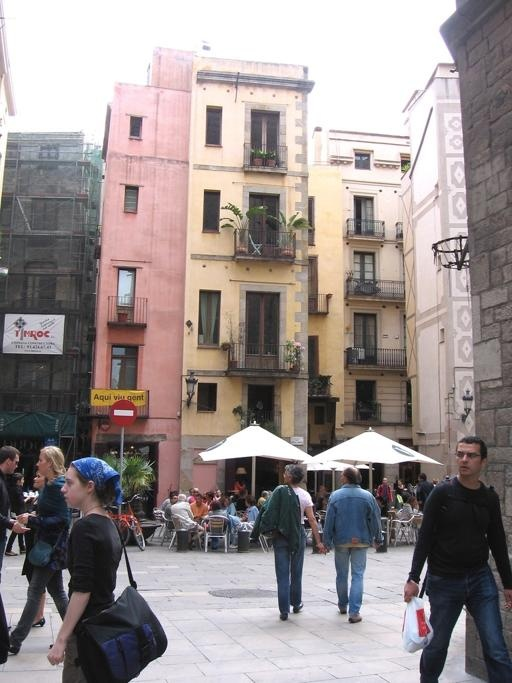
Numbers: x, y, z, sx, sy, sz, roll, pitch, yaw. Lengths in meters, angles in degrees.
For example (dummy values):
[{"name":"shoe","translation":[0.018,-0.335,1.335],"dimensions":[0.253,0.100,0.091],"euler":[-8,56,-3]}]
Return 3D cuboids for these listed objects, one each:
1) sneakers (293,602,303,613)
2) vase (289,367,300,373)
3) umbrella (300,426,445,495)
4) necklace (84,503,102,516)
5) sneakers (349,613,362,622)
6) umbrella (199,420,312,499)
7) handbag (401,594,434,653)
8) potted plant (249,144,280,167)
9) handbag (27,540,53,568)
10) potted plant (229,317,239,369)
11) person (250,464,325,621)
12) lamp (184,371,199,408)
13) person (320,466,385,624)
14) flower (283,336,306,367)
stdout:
[{"name":"sneakers","translation":[0.473,2.995,8.185],"dimensions":[0.056,0.077,0.169],"euler":[4,7,13]},{"name":"vase","translation":[1.434,1.046,26.607],"dimensions":[0.292,0.289,0.487],"euler":[-6,-12,37]},{"name":"umbrella","translation":[2.724,2.763,18.691],"dimensions":[2.908,1.429,2.920],"euler":[-1,-21,-2]},{"name":"necklace","translation":[-0.795,0.814,3.512],"dimensions":[0.066,0.036,0.054],"euler":[-6,-18,-6]},{"name":"sneakers","translation":[1.060,2.914,7.707],"dimensions":[0.059,0.072,0.168],"euler":[-2,-7,30]},{"name":"umbrella","translation":[-0.104,2.677,17.904],"dimensions":[2.466,2.045,2.462],"euler":[2,-17,-11]},{"name":"handbag","translation":[0.980,1.721,4.379],"dimensions":[0.170,0.370,0.395],"euler":[-1,-9,13]},{"name":"potted plant","translation":[0.317,-7.076,28.070],"dimensions":[1.141,0.835,0.858],"euler":[1,-3,-11]},{"name":"handbag","translation":[-1.775,1.734,5.974],"dimensions":[0.175,0.223,0.079],"euler":[-13,-38,26]},{"name":"potted plant","translation":[-0.810,0.059,26.590],"dimensions":[0.385,1.814,0.418],"euler":[1,-9,-2]},{"name":"person","translation":[0.366,2.218,8.205],"dimensions":[0.786,1.639,0.966],"euler":[1,-9,1]},{"name":"lamp","translation":[-2.348,1.670,26.048],"dimensions":[0.443,1.288,0.844],"euler":[2,-9,-5]},{"name":"person","translation":[1.084,2.239,8.167],"dimensions":[0.660,1.628,0.924],"euler":[-1,-9,10]},{"name":"flower","translation":[1.372,0.404,26.731],"dimensions":[0.754,0.931,0.449],"euler":[5,-3,-30]}]
